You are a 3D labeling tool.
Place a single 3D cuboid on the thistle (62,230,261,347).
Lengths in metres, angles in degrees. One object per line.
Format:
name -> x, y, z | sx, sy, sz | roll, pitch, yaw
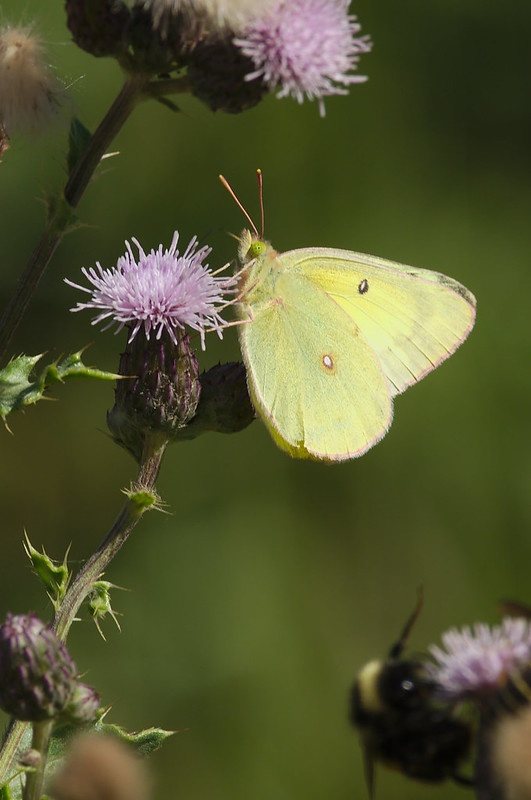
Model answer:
thistle -> -0.182, -0.196, 1.541 | 0.243, 0.138, 0.261 | 1, -4, -35
